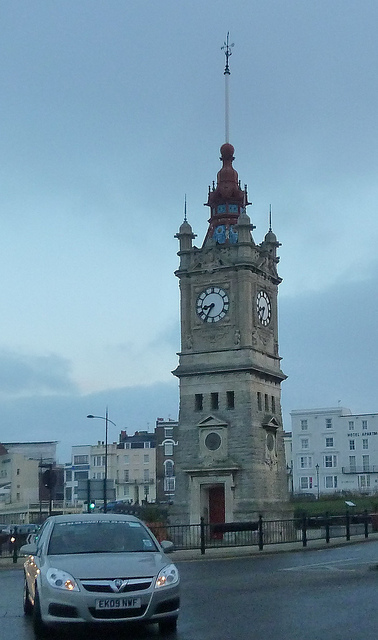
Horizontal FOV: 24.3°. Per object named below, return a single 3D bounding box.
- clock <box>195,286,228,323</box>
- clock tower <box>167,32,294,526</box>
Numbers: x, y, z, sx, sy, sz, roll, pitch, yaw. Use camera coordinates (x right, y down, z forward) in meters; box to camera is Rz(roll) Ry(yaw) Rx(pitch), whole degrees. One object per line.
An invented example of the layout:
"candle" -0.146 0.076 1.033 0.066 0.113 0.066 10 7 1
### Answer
"clock" 1.228 -0.985 47.969 1.994 2.007 0.353 -9 -15 42
"clock tower" 2.184 1.068 47.661 5.728 19.091 5.737 2 -11 -1
